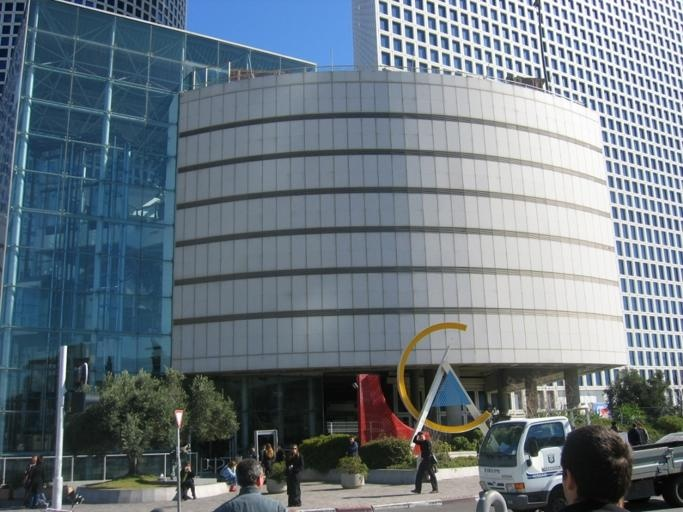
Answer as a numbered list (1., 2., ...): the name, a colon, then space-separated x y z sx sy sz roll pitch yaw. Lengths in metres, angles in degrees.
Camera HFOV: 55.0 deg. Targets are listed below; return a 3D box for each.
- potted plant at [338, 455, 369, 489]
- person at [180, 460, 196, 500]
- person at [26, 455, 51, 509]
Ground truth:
1. potted plant: 0.603 10.262 31.233 1.232 1.740 1.492 -11 -19 33
2. person: -7.007 10.365 30.062 0.621 1.503 1.400 -1 -14 -13
3. person: -12.920 9.614 27.847 0.737 2.106 1.081 2 -14 -26
